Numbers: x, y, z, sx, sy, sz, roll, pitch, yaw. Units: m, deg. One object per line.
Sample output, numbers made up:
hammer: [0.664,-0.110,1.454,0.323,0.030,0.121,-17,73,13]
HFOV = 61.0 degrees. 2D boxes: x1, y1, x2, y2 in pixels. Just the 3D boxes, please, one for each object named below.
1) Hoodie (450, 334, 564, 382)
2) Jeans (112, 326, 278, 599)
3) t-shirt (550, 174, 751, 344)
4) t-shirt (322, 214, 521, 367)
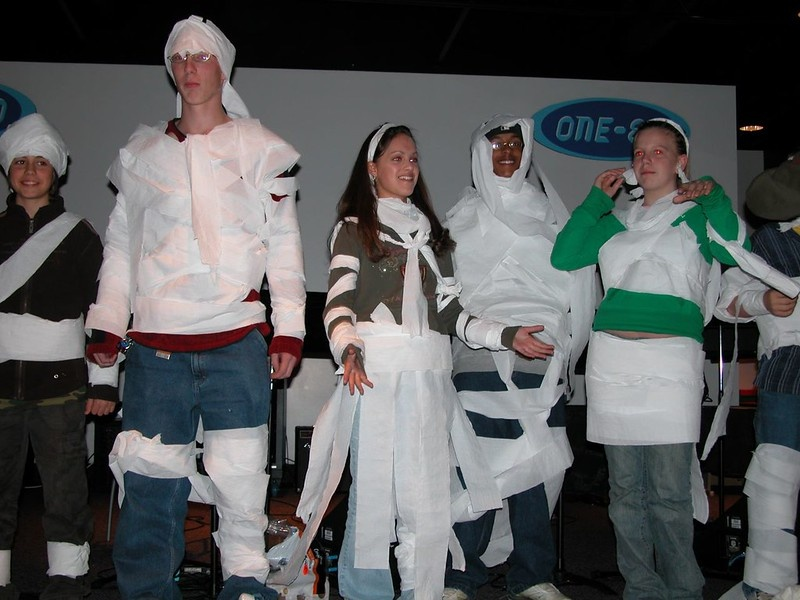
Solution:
Hoodie: [0.482,0.298,3.193,0.408,0.122,0.242,7,-12,2]
Jeans: [-0.803,0.649,2.658,0.563,1.057,0.223,-1,1,-1]
t-shirt: [1.109,-0.198,3.100,0.832,0.805,0.471,3,-23,28]
t-shirt: [0.064,-0.034,2.925,0.819,0.797,0.515,0,-4,-24]
